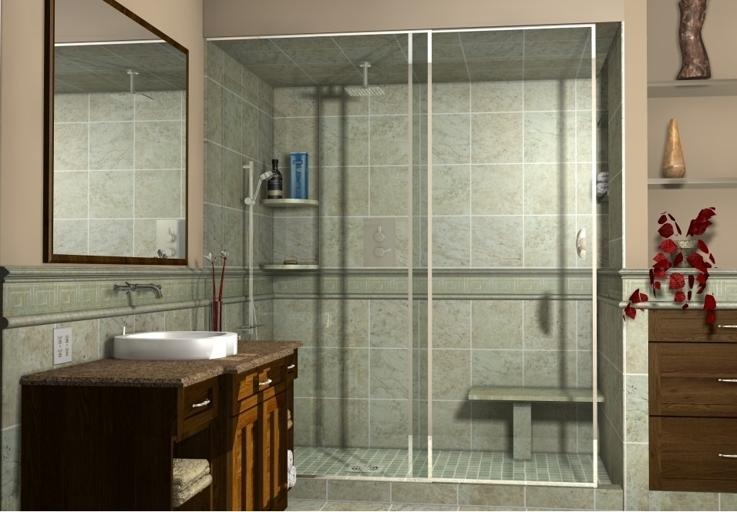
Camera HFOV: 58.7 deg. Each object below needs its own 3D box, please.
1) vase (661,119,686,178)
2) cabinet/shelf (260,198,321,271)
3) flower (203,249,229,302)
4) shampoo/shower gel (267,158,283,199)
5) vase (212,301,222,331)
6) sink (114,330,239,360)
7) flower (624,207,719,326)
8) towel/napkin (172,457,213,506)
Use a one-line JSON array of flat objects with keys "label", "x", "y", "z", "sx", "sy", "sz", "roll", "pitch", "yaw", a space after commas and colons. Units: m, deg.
[{"label": "vase", "x": 2.027, "y": -0.724, "z": 4.351, "sx": 0.141, "sy": 0.413, "sz": 0.210, "roll": 0, "pitch": 1, "yaw": 24}, {"label": "cabinet/shelf", "x": -0.514, "y": -0.150, "z": 4.461, "sx": 0.482, "sy": 0.568, "sz": 0.314, "roll": 0, "pitch": -5, "yaw": 4}, {"label": "flower", "x": -0.991, "y": 0.124, "z": 4.319, "sx": 0.154, "sy": 0.337, "sz": 0.206, "roll": -1, "pitch": 1, "yaw": -20}, {"label": "shampoo/shower gel", "x": -0.640, "y": -0.542, "z": 4.490, "sx": 0.114, "sy": 0.278, "sz": 0.031, "roll": 0, "pitch": 1, "yaw": -6}, {"label": "vase", "x": -1.012, "y": 0.381, "z": 4.339, "sx": 0.068, "sy": 0.201, "sz": 0.109, "roll": 0, "pitch": 1, "yaw": -9}, {"label": "sink", "x": -1.022, "y": 0.467, "z": 3.507, "sx": 0.575, "sy": 0.115, "sz": 0.444, "roll": 1, "pitch": 2, "yaw": 30}, {"label": "flower", "x": 1.917, "y": 0.076, "z": 4.122, "sx": 0.715, "sy": 0.933, "sz": 0.223, "roll": 3, "pitch": -11, "yaw": 18}, {"label": "towel/napkin", "x": -0.894, "y": 1.088, "z": 3.206, "sx": 0.083, "sy": 0.245, "sz": 0.253, "roll": 20, "pitch": 22, "yaw": 41}]
